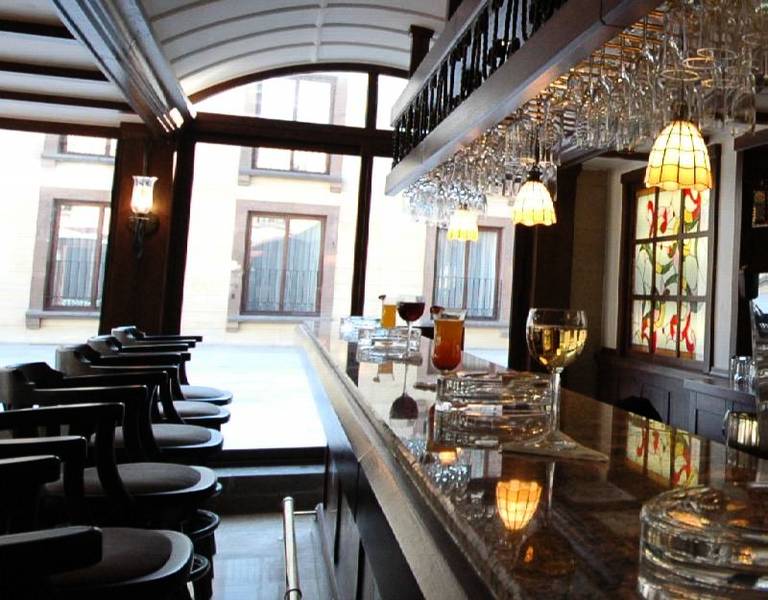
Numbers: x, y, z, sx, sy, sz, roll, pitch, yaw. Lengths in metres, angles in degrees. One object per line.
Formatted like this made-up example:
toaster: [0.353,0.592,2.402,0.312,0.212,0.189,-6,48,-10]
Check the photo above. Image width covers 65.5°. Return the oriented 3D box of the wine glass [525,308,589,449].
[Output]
wine glass: [0.327,0.131,1.115,0.104,0.234,0.425,1,2,17]

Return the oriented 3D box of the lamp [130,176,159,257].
lamp: [-1.877,-0.652,4.666,0.209,0.642,0.173,0,2,-18]
